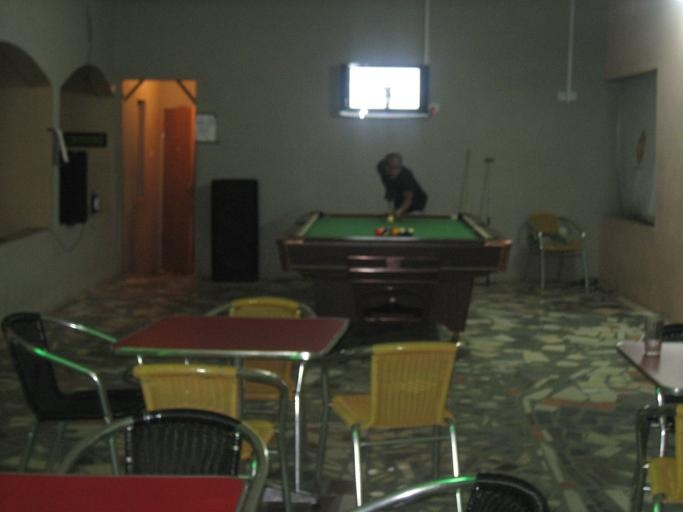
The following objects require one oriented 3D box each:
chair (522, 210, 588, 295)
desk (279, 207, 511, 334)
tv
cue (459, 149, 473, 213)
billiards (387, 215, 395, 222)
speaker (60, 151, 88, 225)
[{"bbox_3d":[2.856,-0.078,8.248,0.665,0.971,0.694,0,4,-3],"label":"chair"},{"bbox_3d":[0.466,-0.022,5.806,1.524,0.897,1.526,0,10,1],"label":"desk"},{"bbox_3d":[0.481,-1.842,6.788,0.955,0.528,0.236,3,10,14],"label":"tv"},{"bbox_3d":[1.706,-1.050,8.500,0.172,0.865,0.069,-6,11,-33],"label":"cue"},{"bbox_3d":[0.524,-0.399,6.558,0.065,0.062,0.063,-1,3,4],"label":"billiards"},{"bbox_3d":[-3.067,-0.764,6.980,0.343,0.831,0.153,2,10,8],"label":"speaker"}]
